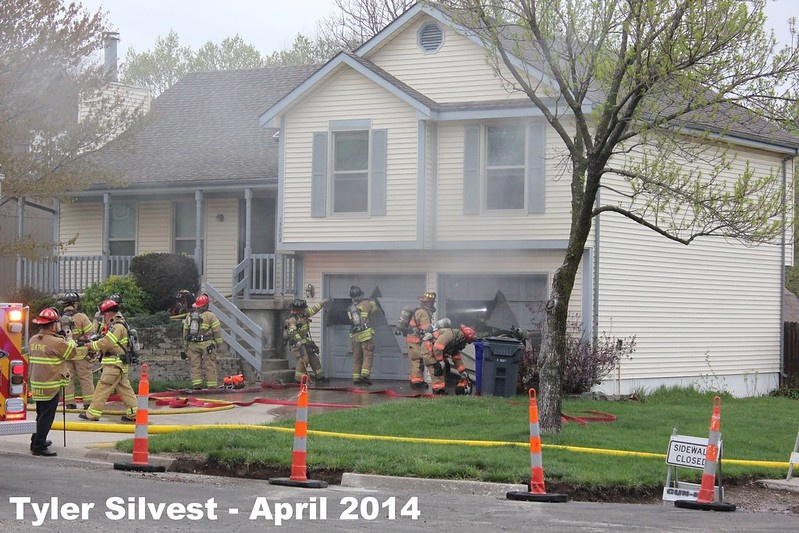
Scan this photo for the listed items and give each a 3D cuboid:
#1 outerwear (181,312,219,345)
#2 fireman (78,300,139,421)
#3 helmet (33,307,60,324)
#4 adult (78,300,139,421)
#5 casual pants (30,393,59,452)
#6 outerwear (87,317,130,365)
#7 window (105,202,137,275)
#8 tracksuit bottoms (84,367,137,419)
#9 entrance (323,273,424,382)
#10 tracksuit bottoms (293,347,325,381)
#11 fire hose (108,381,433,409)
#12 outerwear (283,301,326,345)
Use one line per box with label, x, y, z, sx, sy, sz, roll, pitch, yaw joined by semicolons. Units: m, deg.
outerwear;-4.530;1.389;27.513;1.039;0.928;0.630;1;6;8
fireman;-5.966;2.020;24.399;1.410;2.693;1.088;-3;-31;-5
helmet;-6.325;0.896;21.494;0.279;0.175;0.362;1;-4;11
adult;-5.966;2.020;24.399;1.410;2.693;1.088;-3;-31;-5
casual pants;-6.268;2.764;21.105;0.409;1.033;0.400;3;-5;-22
outerwear;-5.799;1.481;23.898;0.897;1.032;0.858;2;1;-12
window;-8.007;-0.697;34.241;0.921;2.388;0.125;0;1;-23
tracksuit bottoms;-5.674;2.441;23.707;1.215;1.189;0.608;7;-9;-44
entrance;-0.570;1.440;29.270;2.628;2.585;0.306;2;3;2
tracksuit bottoms;-2.167;2.324;28.541;0.365;0.432;0.913;-29;-18;-1
fire hose;-2.607;2.869;26.489;5.704;0.417;3.668;2;-4;-10
outerwear;-2.267;1.386;29.074;0.345;0.784;0.983;13;-11;6
